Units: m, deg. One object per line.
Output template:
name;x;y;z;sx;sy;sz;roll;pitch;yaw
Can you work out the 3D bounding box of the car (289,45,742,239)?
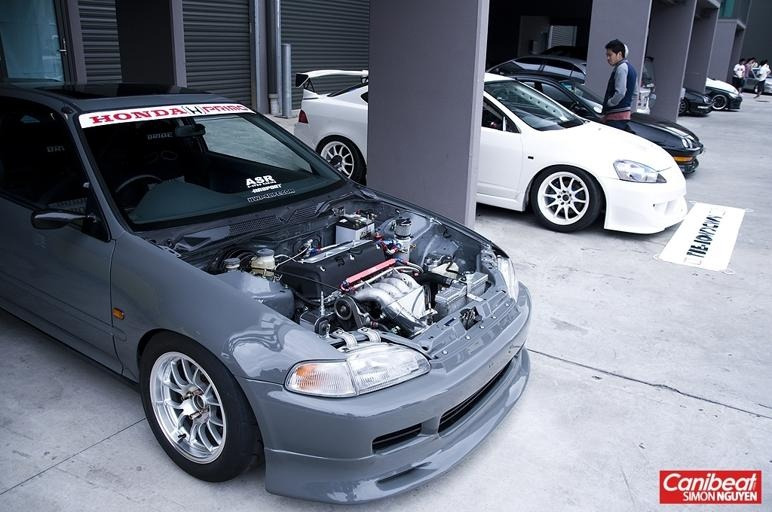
car;1.442;-1.358;7.069;5.835;1.782;2.769;13;31;18
